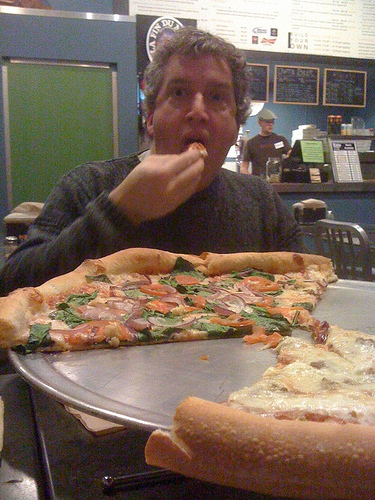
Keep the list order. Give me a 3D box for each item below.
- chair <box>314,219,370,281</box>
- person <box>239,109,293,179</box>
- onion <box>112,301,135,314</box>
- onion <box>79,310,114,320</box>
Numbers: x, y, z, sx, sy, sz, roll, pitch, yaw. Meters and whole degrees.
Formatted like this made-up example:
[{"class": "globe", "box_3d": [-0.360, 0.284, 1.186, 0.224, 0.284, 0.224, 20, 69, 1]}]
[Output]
[{"class": "chair", "box_3d": [1.234, 0.005, 3.294, 0.441, 0.545, 0.431, -3, 11, -20]}, {"class": "person", "box_3d": [1.227, -1.392, 6.372, 0.871, 1.343, 0.704, -4, 17, 5]}, {"class": "onion", "box_3d": [-0.221, 0.196, 1.428, 0.063, 0.019, 0.034, 12, 31, 29]}, {"class": "onion", "box_3d": [-0.295, 0.210, 1.329, 0.050, 0.016, 0.048, 1, 1, 42]}]
